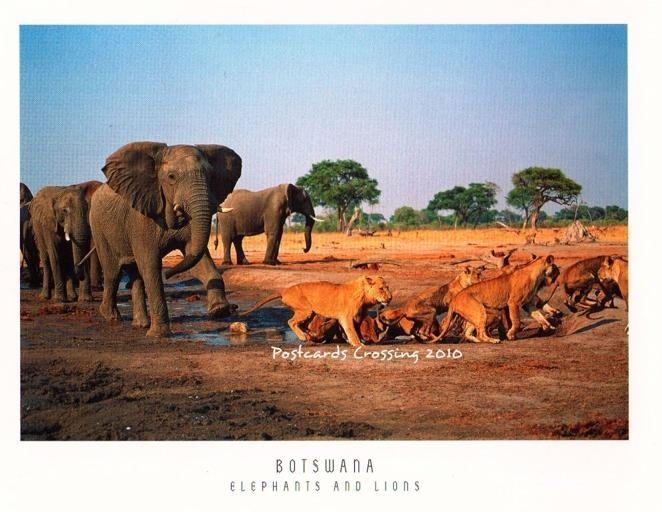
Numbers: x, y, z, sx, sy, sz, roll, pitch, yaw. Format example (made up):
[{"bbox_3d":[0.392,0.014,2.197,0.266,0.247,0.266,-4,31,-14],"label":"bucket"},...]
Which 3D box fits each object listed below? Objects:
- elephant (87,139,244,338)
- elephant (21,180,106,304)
[{"bbox_3d":[-2.758,-0.202,15.637,2.863,4.420,4.215,-1,4,-31],"label":"elephant"},{"bbox_3d":[-6.836,-0.284,19.880,2.230,3.330,1.929,-2,4,-44],"label":"elephant"}]
